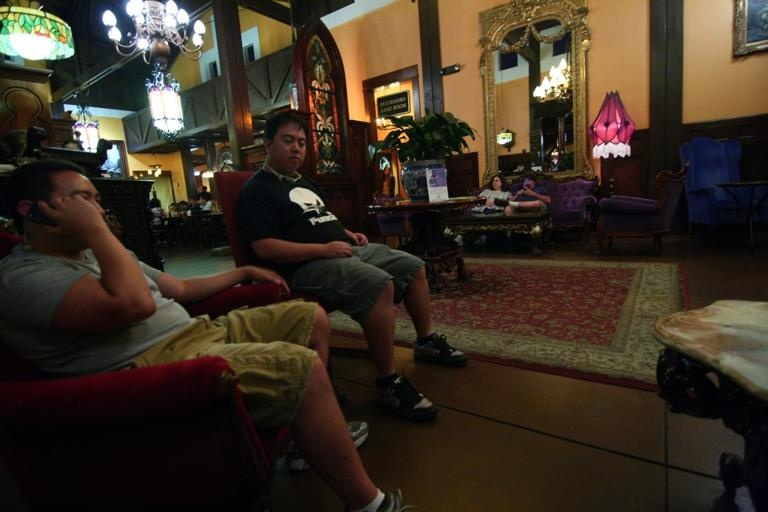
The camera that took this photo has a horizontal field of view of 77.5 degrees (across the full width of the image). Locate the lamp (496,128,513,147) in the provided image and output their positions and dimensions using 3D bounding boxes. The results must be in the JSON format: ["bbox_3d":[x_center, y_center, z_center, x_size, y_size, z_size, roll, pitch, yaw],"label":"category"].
[{"bbox_3d":[1.862,-1.856,7.385,0.300,0.299,0.156,1,2,31],"label":"lamp"}]

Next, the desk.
[{"bbox_3d":[0.321,-0.124,4.053,0.841,0.599,0.831,-8,9,3],"label":"desk"}]

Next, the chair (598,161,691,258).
[{"bbox_3d":[2.692,-0.602,5.401,1.076,1.176,1.000,5,11,24],"label":"chair"}]

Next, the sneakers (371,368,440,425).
[{"bbox_3d":[0.095,0.657,2.273,0.332,0.149,0.149,7,13,32],"label":"sneakers"}]

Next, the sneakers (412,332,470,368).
[{"bbox_3d":[0.324,0.522,2.680,0.337,0.161,0.133,1,8,20],"label":"sneakers"}]

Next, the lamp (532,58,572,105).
[{"bbox_3d":[2.499,-2.537,6.972,0.552,0.375,0.412,-4,31,34],"label":"lamp"}]

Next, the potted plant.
[{"bbox_3d":[0.334,-0.850,3.946,0.730,0.690,0.716,-1,2,-4],"label":"potted plant"}]

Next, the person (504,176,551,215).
[{"bbox_3d":[1.889,-0.836,6.370,0.579,0.603,0.958,1,-2,12],"label":"person"}]

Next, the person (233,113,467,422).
[{"bbox_3d":[-0.152,-0.033,2.560,1.185,1.367,0.826,5,14,19],"label":"person"}]

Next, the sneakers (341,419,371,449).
[{"bbox_3d":[-0.113,0.780,2.171,0.108,0.055,0.187,2,13,7],"label":"sneakers"}]
